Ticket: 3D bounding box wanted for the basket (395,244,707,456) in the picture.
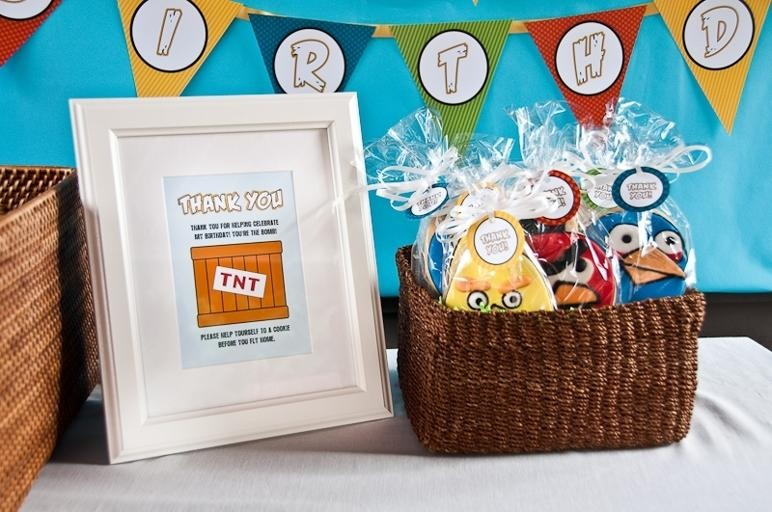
[{"bbox_3d":[0.305,0.173,1.325,0.531,0.276,0.412,-6,15,-7],"label":"basket"}]
